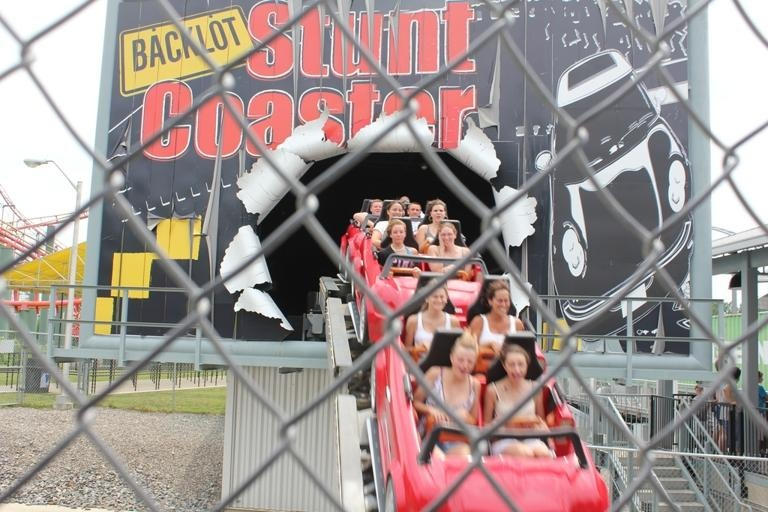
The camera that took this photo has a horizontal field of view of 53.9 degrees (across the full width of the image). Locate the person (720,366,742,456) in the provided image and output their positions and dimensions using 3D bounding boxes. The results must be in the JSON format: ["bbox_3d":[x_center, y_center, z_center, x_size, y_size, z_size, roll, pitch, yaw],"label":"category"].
[{"bbox_3d":[7.928,3.485,17.354,0.405,1.605,4.212,-2,-9,25],"label":"person"}]
